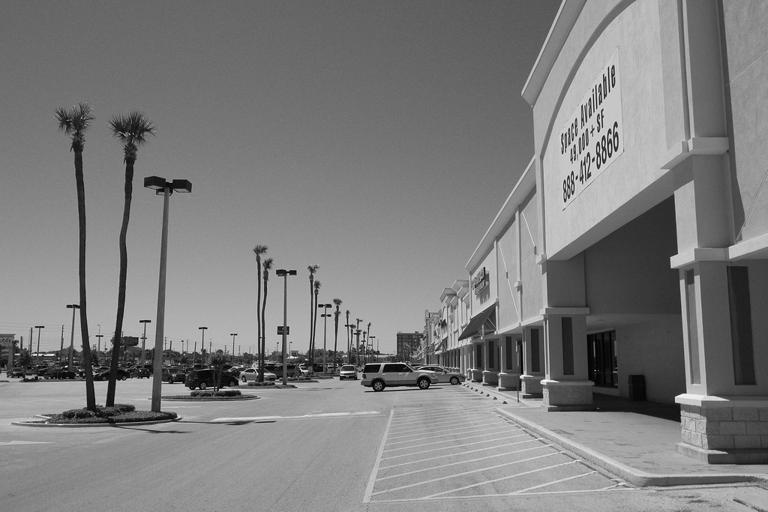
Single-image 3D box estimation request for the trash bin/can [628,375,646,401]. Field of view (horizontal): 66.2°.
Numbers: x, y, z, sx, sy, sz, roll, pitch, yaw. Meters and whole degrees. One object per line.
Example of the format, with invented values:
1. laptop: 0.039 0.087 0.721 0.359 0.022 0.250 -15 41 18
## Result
1. trash bin/can: 12.452 6.406 28.736 0.722 1.290 0.546 -4 -15 15
